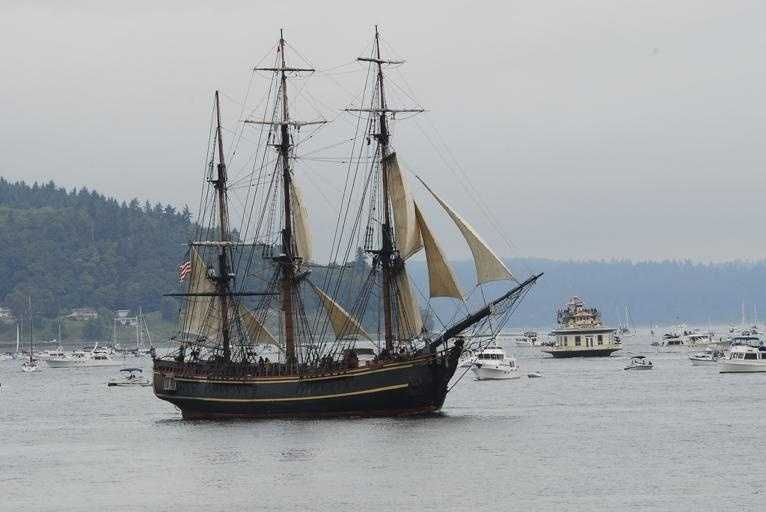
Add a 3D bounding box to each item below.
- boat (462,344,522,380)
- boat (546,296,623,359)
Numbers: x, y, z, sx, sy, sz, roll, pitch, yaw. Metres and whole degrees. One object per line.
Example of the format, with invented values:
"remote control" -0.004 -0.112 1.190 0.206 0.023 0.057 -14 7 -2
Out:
"boat" 19.272 19.004 267.554 5.656 6.054 17.078 -3 -7 21
"boat" 43.727 16.845 338.479 11.969 8.365 16.716 -1 -3 2
